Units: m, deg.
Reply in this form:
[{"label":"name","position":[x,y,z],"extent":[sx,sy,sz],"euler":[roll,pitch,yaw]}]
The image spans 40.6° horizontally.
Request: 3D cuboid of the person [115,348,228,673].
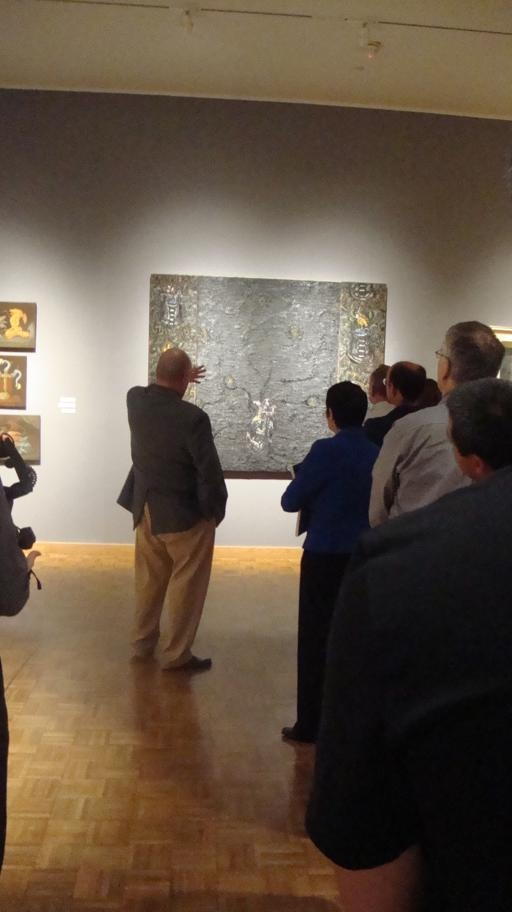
[{"label":"person","position":[-0.516,0.343,4.317],"extent":[0.678,1.987,0.433],"euler":[5,5,40]}]
